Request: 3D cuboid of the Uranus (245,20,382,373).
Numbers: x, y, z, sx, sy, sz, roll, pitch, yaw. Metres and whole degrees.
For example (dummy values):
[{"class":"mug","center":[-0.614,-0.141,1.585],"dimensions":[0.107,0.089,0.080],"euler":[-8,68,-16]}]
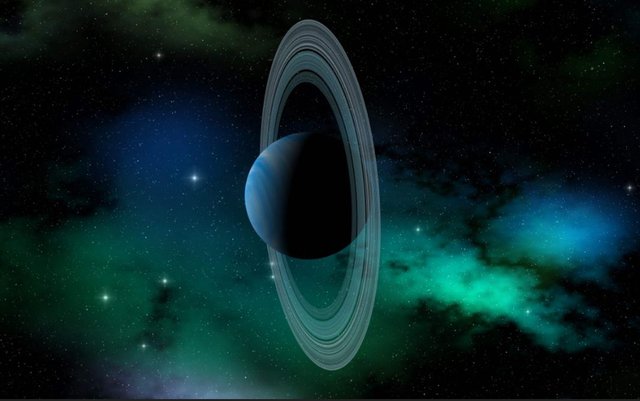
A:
[{"class":"Uranus","center":[0.027,-0.425,13.411],"dimensions":[0.044,7.049,7.163],"euler":[-6,-64,-28]}]
